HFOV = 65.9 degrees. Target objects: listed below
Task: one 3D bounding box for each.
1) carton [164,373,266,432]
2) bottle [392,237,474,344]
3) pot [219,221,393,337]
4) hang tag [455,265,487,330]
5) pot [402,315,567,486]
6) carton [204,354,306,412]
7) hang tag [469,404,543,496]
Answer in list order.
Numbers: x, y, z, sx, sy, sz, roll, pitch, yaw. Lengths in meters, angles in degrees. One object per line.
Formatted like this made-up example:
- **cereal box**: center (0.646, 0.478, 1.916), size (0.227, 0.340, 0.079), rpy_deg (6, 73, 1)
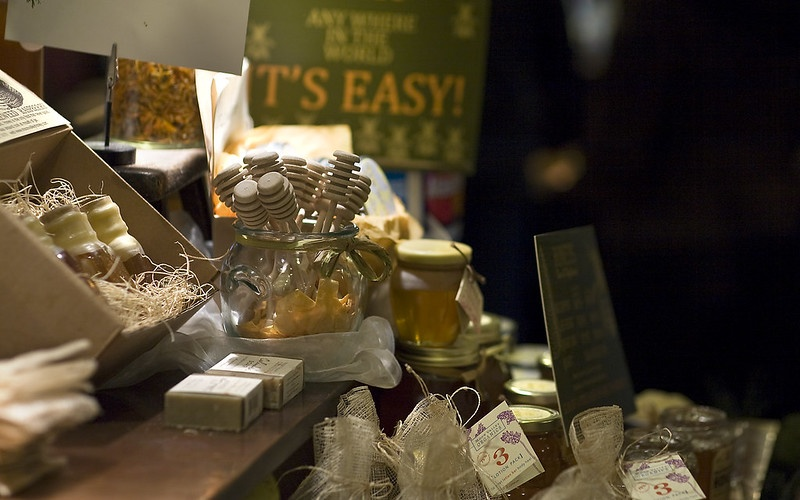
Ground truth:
- **carton**: center (-0.283, 0.210, 0.907), size (0.090, 0.043, 0.094), rpy_deg (2, 3, 6)
- **bottle**: center (0.060, 0.093, 1.285), size (0.174, 0.219, 0.176), rpy_deg (1, 13, 0)
- **pot**: center (-0.171, 0.062, 1.143), size (0.337, 0.219, 0.255), rpy_deg (4, 14, 4)
- **hang tag**: center (0.140, 0.098, 1.227), size (0.037, 0.110, 0.108), rpy_deg (-16, 14, 15)
- **pot**: center (0.186, 0.281, 1.312), size (0.257, 0.249, 0.182), rpy_deg (5, 7, 22)
- **carton**: center (-0.215, 0.197, 0.980), size (0.095, 0.035, 0.097), rpy_deg (6, 12, 11)
- **hang tag**: center (0.170, 0.319, 0.997), size (0.111, 0.129, 0.085), rpy_deg (-4, 20, -8)
